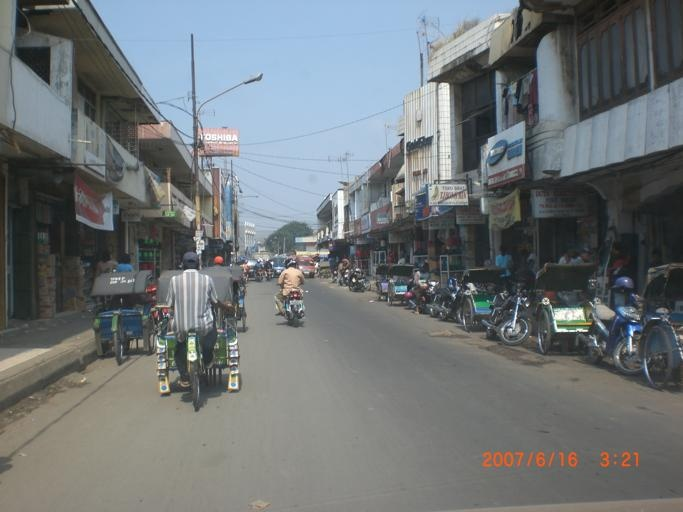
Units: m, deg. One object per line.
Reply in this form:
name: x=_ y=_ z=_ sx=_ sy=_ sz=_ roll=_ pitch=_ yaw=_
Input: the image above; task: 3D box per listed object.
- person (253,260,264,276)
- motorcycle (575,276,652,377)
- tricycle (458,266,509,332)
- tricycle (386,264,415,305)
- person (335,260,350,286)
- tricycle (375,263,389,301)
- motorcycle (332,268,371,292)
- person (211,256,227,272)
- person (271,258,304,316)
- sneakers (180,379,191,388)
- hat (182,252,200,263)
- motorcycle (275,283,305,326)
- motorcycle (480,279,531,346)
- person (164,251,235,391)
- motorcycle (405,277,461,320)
person: x=-5.483 y=0.735 z=47.335 sx=0.688 sy=0.801 sz=1.147 roll=0 pitch=-6 yaw=-7
motorcycle: x=5.058 y=1.258 z=13.337 sx=0.658 sy=1.708 sz=2.190 roll=14 pitch=-4 yaw=-6
tricycle: x=3.282 y=0.932 z=18.582 sx=1.103 sy=1.603 sz=2.030 roll=1 pitch=2 yaw=-30
tricycle: x=2.152 y=0.934 z=25.629 sx=0.722 sy=1.357 sz=1.988 roll=5 pitch=10 yaw=3
person: x=0.084 y=0.892 z=39.868 sx=0.670 sy=0.955 sz=1.328 roll=7 pitch=12 yaw=-2
tricycle: x=1.740 y=0.910 z=27.555 sx=0.626 sy=1.312 sz=2.002 roll=0 pitch=8 yaw=5
motorcycle: x=0.801 y=1.118 z=34.342 sx=0.768 sy=1.032 sz=1.737 roll=-1 pitch=6 yaw=-12
person: x=-4.711 y=0.230 z=27.259 sx=0.520 sy=0.244 sz=0.784 roll=7 pitch=17 yaw=-26
person: x=-1.418 y=0.788 z=19.332 sx=0.757 sy=1.025 sz=1.400 roll=1 pitch=5 yaw=-3
sneakers: x=-2.525 y=2.020 z=11.544 sx=0.202 sy=0.108 sz=0.076 roll=2 pitch=-10 yaw=-1
hat: x=-2.441 y=0.011 z=11.667 sx=0.203 sy=0.182 sz=0.368 roll=4 pitch=4 yaw=-6
motorcycle: x=-1.258 y=1.311 z=18.794 sx=0.391 sy=1.008 sz=0.756 roll=-7 pitch=13 yaw=-31
motorcycle: x=3.740 y=1.291 z=15.958 sx=0.786 sy=1.448 sz=1.285 roll=0 pitch=12 yaw=4
person: x=-2.362 y=1.014 z=11.600 sx=0.880 sy=2.194 sz=1.436 roll=0 pitch=4 yaw=-3
motorcycle: x=2.758 y=1.245 z=20.580 sx=1.351 sy=0.952 sz=0.725 roll=5 pitch=2 yaw=25
